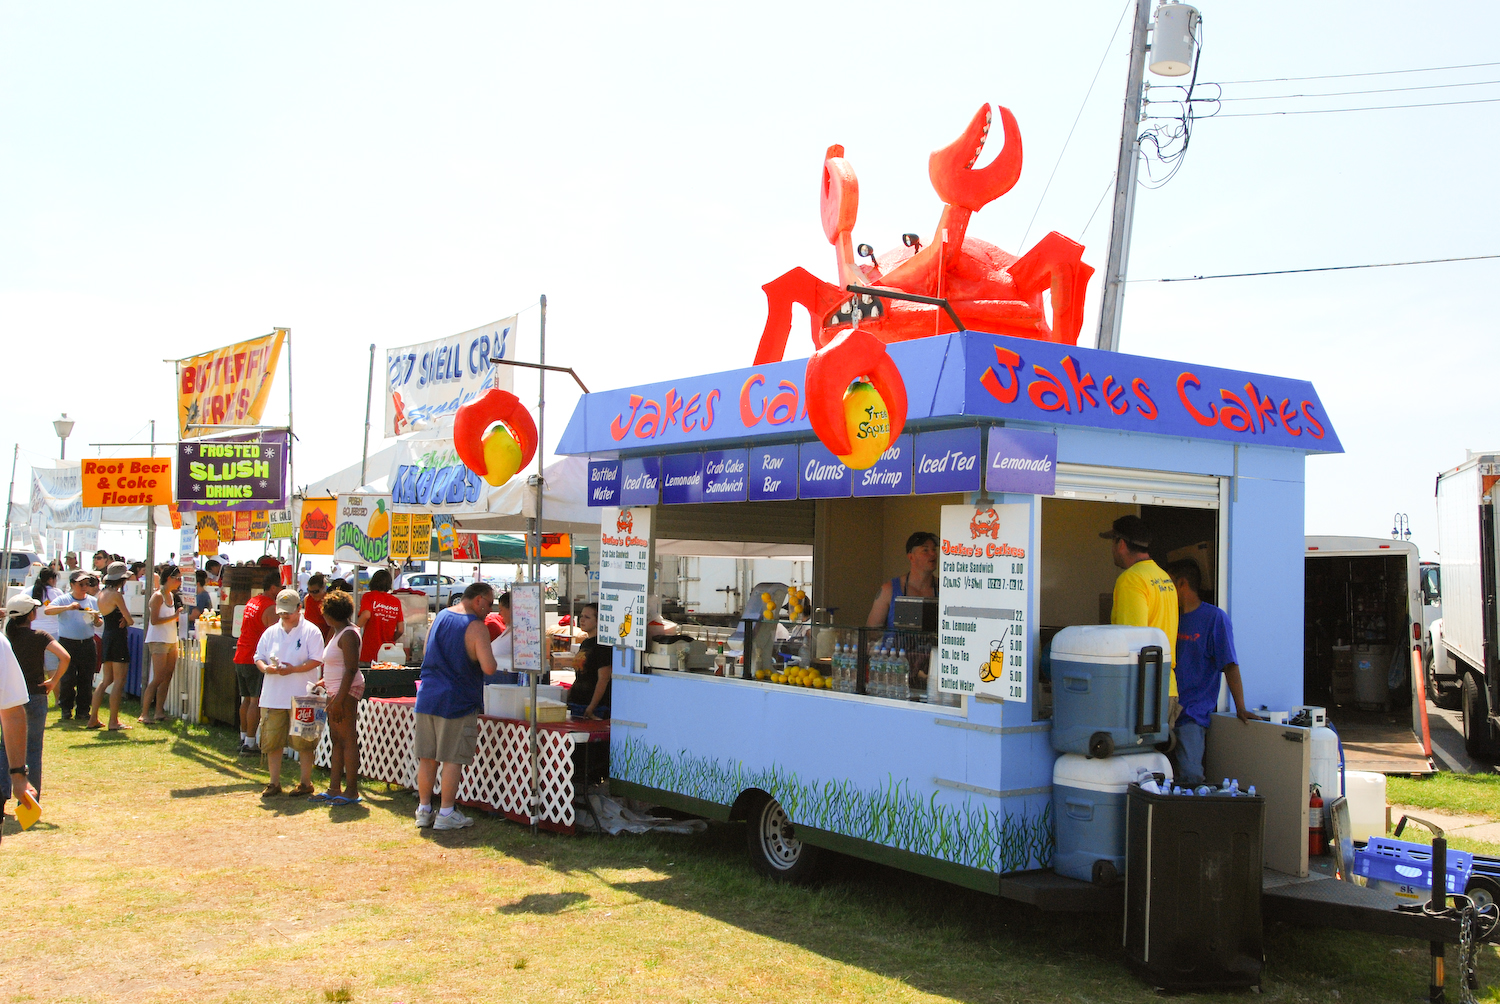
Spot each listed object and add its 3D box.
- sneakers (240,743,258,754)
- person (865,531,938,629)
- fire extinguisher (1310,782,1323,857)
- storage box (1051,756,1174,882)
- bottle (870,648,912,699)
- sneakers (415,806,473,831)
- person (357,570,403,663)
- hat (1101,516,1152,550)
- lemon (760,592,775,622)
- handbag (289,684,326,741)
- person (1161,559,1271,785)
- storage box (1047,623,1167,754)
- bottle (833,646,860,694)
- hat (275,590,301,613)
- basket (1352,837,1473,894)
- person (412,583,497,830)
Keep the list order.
[{"bbox_3d":[-5.541,2.721,13.168,0.113,0.088,0.115,5,-5,-21],"label":"sneakers"},{"bbox_3d":[1.266,0.647,9.796,0.378,0.752,0.855,2,3,37],"label":"person"},{"bbox_3d":[3.988,2.255,8.426,0.198,0.497,0.066,0,2,-37],"label":"fire extinguisher"},{"bbox_3d":[2.424,2.142,8.268,0.498,0.794,0.906,-1,-9,30],"label":"storage box"},{"bbox_3d":[1.033,1.252,8.661,0.287,0.406,0.133,-8,-15,40],"label":"bottle"},{"bbox_3d":[-2.710,2.779,10.476,0.526,0.231,0.190,1,1,-26],"label":"sneakers"},{"bbox_3d":[-4.031,1.229,12.946,0.442,0.992,0.538,0,2,-24],"label":"person"},{"bbox_3d":[2.719,0.202,8.730,0.326,0.190,0.235,21,9,37],"label":"hat"},{"bbox_3d":[0.145,0.857,9.806,0.103,0.178,0.053,-6,-45,6],"label":"lemon"},{"bbox_3d":[-4.230,1.980,11.356,0.297,0.532,0.425,23,-26,-39],"label":"handbag"},{"bbox_3d":[3.326,1.267,8.573,0.446,1.785,1.045,7,-18,-17],"label":"person"},{"bbox_3d":[2.449,1.263,8.181,0.750,0.849,0.744,4,-4,-43],"label":"storage box"},{"bbox_3d":[0.705,1.242,8.942,0.063,0.328,0.228,-1,3,-44],"label":"bottle"},{"bbox_3d":[-4.507,0.969,11.682,0.189,0.145,0.269,-1,-4,0],"label":"hat"},{"bbox_3d":[4.532,2.477,8.143,0.454,0.200,0.495,3,-2,29],"label":"basket"},{"bbox_3d":[-2.623,1.777,10.590,0.721,2.142,0.565,1,2,-2],"label":"person"}]
